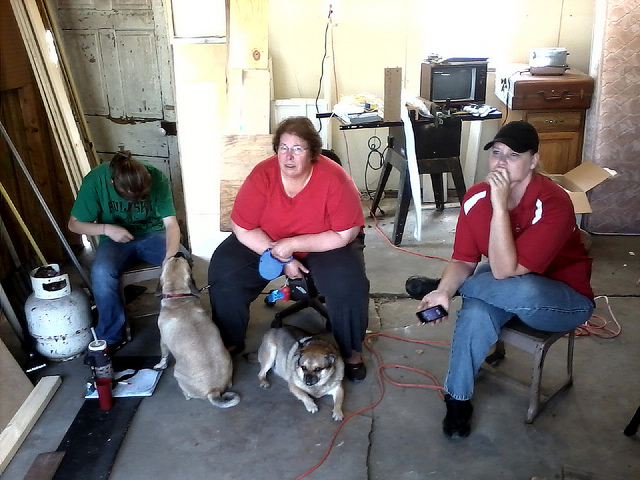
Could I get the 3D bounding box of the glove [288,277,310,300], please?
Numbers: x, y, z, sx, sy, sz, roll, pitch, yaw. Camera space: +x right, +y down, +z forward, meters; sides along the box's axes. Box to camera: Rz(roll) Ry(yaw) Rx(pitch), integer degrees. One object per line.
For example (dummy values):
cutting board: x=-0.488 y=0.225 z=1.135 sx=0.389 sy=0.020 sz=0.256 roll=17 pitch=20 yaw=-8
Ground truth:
glove: x=-0.144 y=0.349 z=3.195 sx=0.177 sy=0.226 sz=0.121 roll=2 pitch=50 yaw=0

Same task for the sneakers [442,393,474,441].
sneakers: x=0.803 y=1.017 z=2.710 sx=0.132 sy=0.114 sz=0.278 roll=-1 pitch=20 yaw=13

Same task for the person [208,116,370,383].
person: x=-0.081 y=-0.011 z=3.279 sx=1.214 sy=1.486 sz=1.087 roll=13 pitch=31 yaw=24

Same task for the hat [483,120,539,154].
hat: x=1.098 y=-0.592 z=2.672 sx=0.317 sy=0.160 sz=0.240 roll=9 pitch=8 yaw=40

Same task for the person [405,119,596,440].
person: x=1.051 y=0.202 z=2.715 sx=1.037 sy=1.669 sz=0.642 roll=-13 pitch=26 yaw=-19

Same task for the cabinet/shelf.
cabinet/shelf: x=2.649 y=-1.057 z=5.573 sx=0.674 sy=1.136 sz=0.677 roll=-3 pitch=23 yaw=3

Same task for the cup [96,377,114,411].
cup: x=-1.343 y=0.969 z=2.941 sx=0.076 sy=0.202 sz=0.101 roll=15 pitch=31 yaw=36

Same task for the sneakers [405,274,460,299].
sneakers: x=0.772 y=0.317 z=3.208 sx=0.354 sy=0.118 sz=0.143 roll=-3 pitch=13 yaw=11

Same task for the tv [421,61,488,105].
tv: x=1.484 y=-1.761 z=5.191 sx=0.665 sy=0.436 sz=0.405 roll=-5 pitch=28 yaw=-3

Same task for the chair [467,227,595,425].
chair: x=1.258 y=0.609 z=2.913 sx=0.670 sy=0.586 sz=0.645 roll=-16 pitch=33 yaw=-24

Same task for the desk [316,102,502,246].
desk: x=1.151 y=-0.779 z=5.182 sx=1.406 sy=1.222 sz=0.854 roll=-11 pitch=27 yaw=-19
